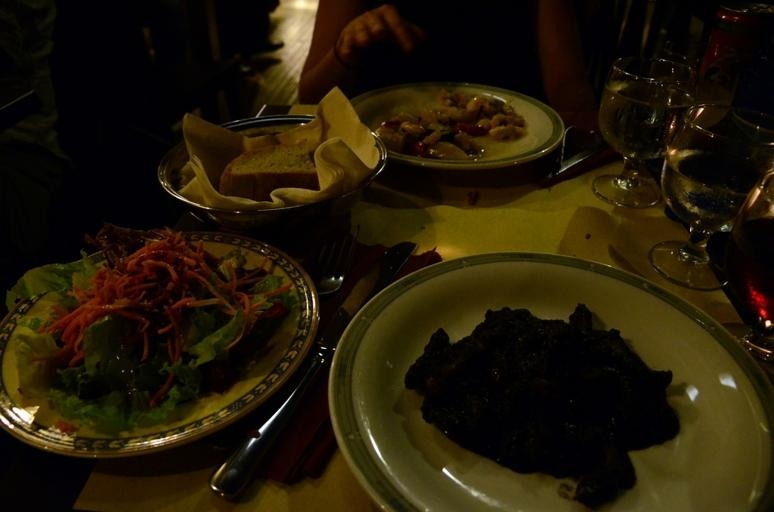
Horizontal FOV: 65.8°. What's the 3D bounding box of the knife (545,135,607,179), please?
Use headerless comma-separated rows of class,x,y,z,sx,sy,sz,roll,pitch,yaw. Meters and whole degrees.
knife,0.592,-0.315,1.885,0.193,0.052,0.137,-37,45,-4

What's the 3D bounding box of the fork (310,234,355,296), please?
fork,-0.140,0.019,1.546,0.070,0.035,0.153,12,46,8

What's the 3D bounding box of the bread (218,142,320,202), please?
bread,-0.334,-0.242,1.670,0.226,0.071,0.169,-4,44,-1

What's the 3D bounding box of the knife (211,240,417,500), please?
knife,-0.140,0.283,1.445,0.209,0.079,0.797,26,65,9
